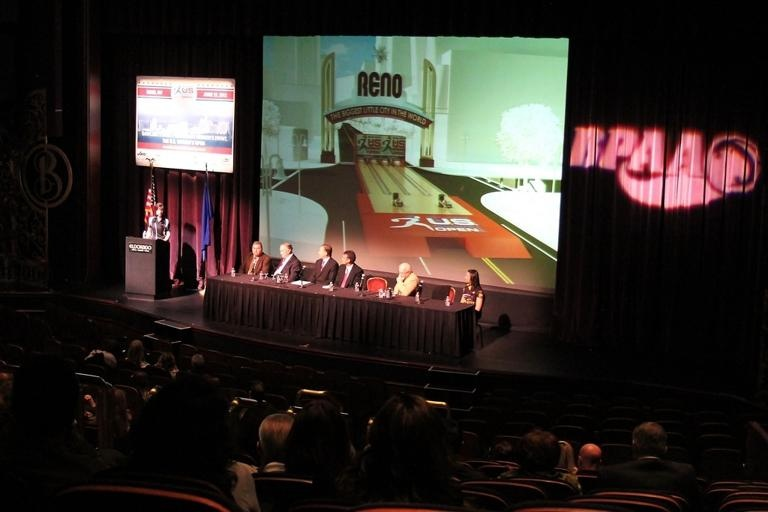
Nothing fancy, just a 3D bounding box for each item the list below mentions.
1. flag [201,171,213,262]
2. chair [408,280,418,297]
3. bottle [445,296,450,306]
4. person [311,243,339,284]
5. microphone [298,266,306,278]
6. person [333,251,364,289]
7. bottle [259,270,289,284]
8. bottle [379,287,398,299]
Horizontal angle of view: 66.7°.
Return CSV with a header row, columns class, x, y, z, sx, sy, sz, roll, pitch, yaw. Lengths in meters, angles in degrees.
class,x,y,z,sx,sy,sz,roll,pitch,yaw
flag,-3.581,-0.805,11.862,0.224,1.828,0.537,3,3,-17
chair,0.505,0.528,9.508,0.190,0.209,0.214,2,-8,-25
bottle,0.961,0.676,8.669,0.090,0.134,0.091,1,4,0
person,-1.025,0.178,10.036,0.526,0.773,0.429,18,21,42
microphone,-1.477,0.281,10.624,0.165,0.166,0.291,8,-14,-5
person,-0.637,0.308,9.773,0.538,0.754,0.525,6,12,8
bottle,-1.814,0.318,9.729,0.406,0.106,0.225,5,6,35
bottle,0.065,0.580,9.023,0.219,0.150,0.223,0,-6,0
